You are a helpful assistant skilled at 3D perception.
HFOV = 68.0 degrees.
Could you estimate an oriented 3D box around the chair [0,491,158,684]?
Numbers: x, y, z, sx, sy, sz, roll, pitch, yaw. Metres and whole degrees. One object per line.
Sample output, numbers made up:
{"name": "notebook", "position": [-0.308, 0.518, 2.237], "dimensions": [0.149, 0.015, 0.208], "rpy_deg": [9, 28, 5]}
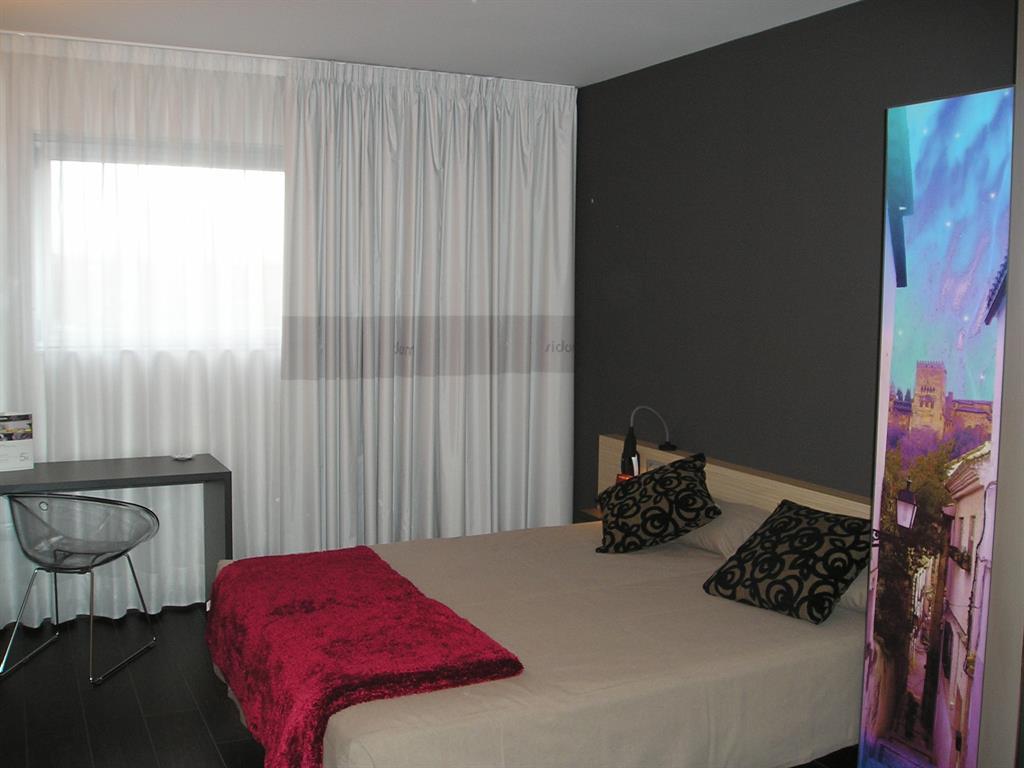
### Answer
{"name": "chair", "position": [-2.352, 1.100, 4.069], "dimensions": [0.681, 0.982, 0.643], "rpy_deg": [4, 6, 12]}
